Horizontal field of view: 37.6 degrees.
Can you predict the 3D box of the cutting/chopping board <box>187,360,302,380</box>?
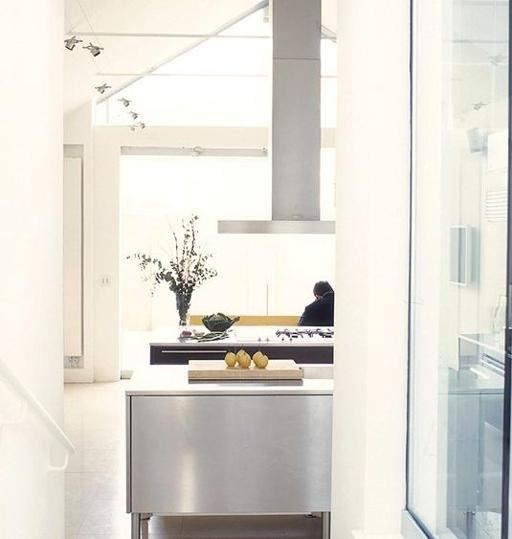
[{"bbox_3d":[-0.055,0.523,3.921,0.586,0.081,0.310,-2,2,-5],"label":"cutting/chopping board"}]
